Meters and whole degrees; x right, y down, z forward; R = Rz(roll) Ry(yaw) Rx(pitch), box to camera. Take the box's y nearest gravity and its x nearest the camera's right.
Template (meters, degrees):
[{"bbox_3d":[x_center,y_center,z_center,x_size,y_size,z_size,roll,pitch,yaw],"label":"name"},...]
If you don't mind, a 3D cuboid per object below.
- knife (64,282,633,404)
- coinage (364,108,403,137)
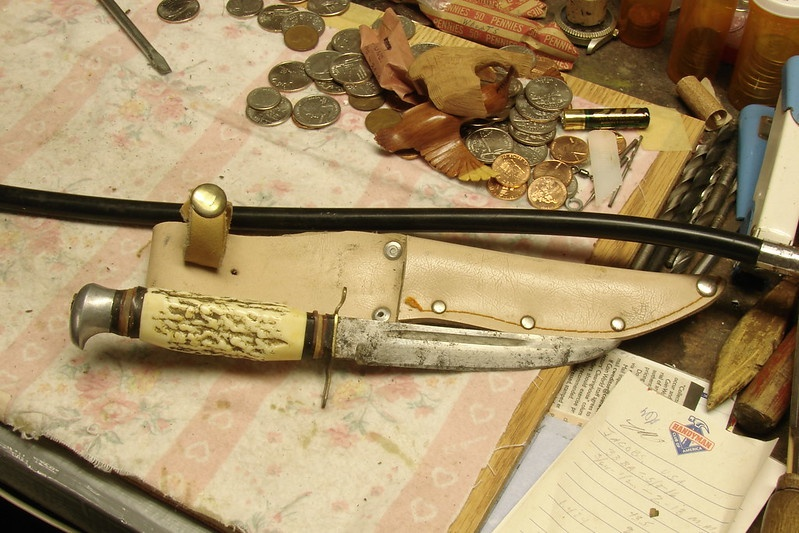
[{"bbox_3d":[-0.125,0.142,1.365,0.940,0.108,0.139,4,34,-6],"label":"knife"},{"bbox_3d":[-0.036,-0.337,1.644,0.083,0.013,0.061,-18,64,-8],"label":"coinage"}]
